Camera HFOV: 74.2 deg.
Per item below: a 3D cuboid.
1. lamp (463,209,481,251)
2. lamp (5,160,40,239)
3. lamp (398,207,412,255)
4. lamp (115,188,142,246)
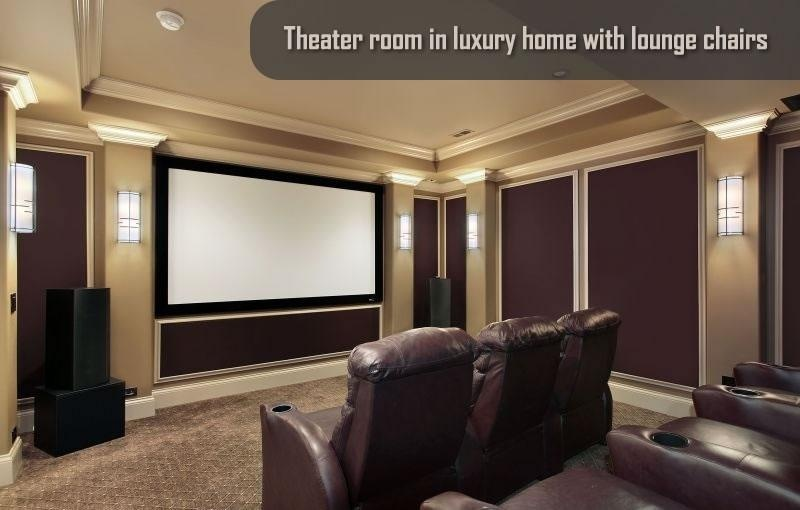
[{"bbox_3d":[1.054,-0.356,7.704,0.075,0.537,0.257,-2,0,-32],"label":"lamp"},{"bbox_3d":[-3.578,-0.542,4.996,0.137,0.625,0.227,-2,0,41],"label":"lamp"},{"bbox_3d":[0.088,-0.356,7.898,0.100,0.555,0.262,-2,0,38],"label":"lamp"},{"bbox_3d":[-3.063,-0.428,5.980,0.237,0.562,0.081,-2,0,-31],"label":"lamp"}]
